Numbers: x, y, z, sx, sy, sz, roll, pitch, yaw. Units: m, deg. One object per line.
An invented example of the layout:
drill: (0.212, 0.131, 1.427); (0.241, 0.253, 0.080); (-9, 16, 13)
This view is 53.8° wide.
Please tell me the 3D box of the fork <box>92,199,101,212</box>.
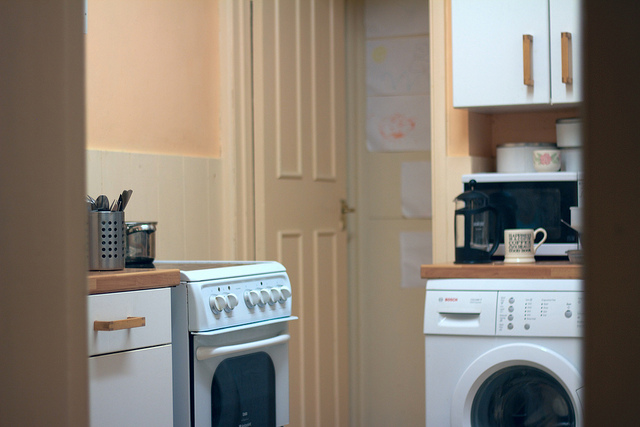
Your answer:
fork: (-0.699, -0.018, 1.974); (0.022, 0.048, 0.022); (0, -3, -7)

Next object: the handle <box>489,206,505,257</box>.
handle: (0.714, 0.073, 2.541); (0.056, 0.194, 0.348); (-1, -1, 17)

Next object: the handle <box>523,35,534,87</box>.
handle: (0.818, -0.594, 2.469); (0.050, 0.197, 0.029); (0, -1, -32)

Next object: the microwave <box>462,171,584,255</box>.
microwave: (0.888, -0.012, 2.744); (0.473, 0.381, 0.293); (2, 17, 37)

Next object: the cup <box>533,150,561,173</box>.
cup: (0.937, -0.212, 2.592); (0.086, 0.077, 0.092); (0, -4, 0)

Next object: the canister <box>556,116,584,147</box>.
canister: (1.029, -0.332, 2.636); (0.072, 0.127, 0.256); (-1, -1, -1)

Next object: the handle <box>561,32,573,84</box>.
handle: (0.951, -0.596, 2.431); (0.038, 0.191, 0.056); (-1, -1, 23)

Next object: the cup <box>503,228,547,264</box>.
cup: (0.803, 0.127, 2.456); (0.164, 0.138, 0.115); (-2, -4, 22)

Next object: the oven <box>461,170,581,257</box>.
oven: (0.801, 0.006, 2.529); (0.442, 0.352, 0.314); (-1, -1, 19)

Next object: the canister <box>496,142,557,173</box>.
canister: (0.849, -0.233, 2.650); (0.170, 0.134, 0.231); (-2, 4, -12)

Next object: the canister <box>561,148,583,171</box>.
canister: (1.035, -0.221, 2.571); (0.055, 0.097, 0.146); (-1, -1, 0)

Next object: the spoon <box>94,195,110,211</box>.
spoon: (-0.680, -0.030, 1.978); (0.034, 0.054, 0.012); (-3, 12, -13)

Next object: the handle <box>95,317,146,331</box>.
handle: (-0.551, 0.310, 1.769); (0.050, 0.035, 0.155); (-2, -2, 41)
